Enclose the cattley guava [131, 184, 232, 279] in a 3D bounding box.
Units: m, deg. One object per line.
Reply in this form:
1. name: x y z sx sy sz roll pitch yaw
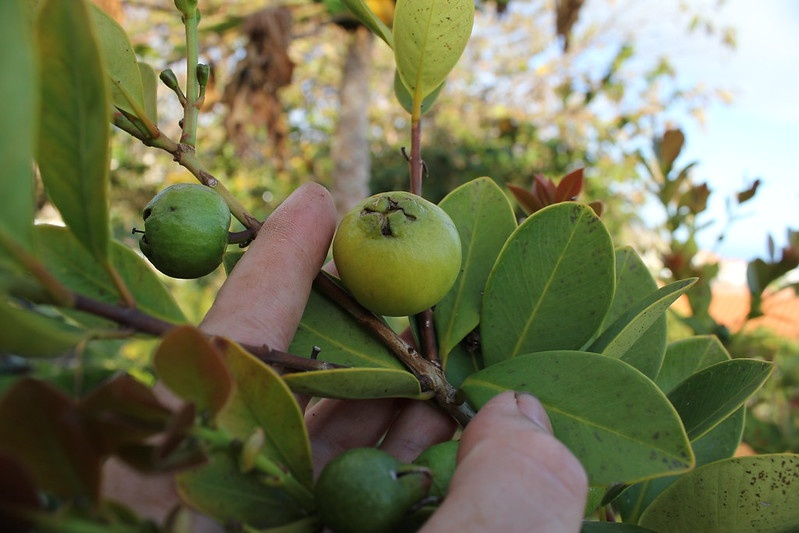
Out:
1. cattley guava: -0.430 -0.071 1.477 0.190 0.195 0.189 -7 -13 28
